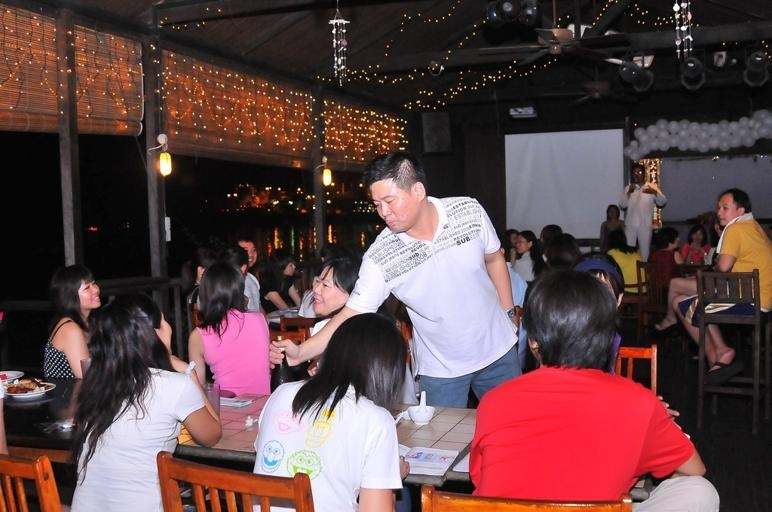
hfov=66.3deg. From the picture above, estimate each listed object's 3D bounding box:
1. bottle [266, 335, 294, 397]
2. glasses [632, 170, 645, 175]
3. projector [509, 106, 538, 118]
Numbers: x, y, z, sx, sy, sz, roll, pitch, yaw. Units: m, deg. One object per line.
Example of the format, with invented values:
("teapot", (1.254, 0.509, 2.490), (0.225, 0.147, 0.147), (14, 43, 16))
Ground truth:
("bottle", (-0.574, 0.617, 3.280), (0.124, 0.354, 0.429), (0, 1, -10))
("glasses", (4.165, -1.388, 9.750), (0.181, 0.098, 0.238), (3, -3, 25))
("projector", (2.800, -2.943, 12.007), (0.503, 0.203, 0.515), (1, 1, 18))
